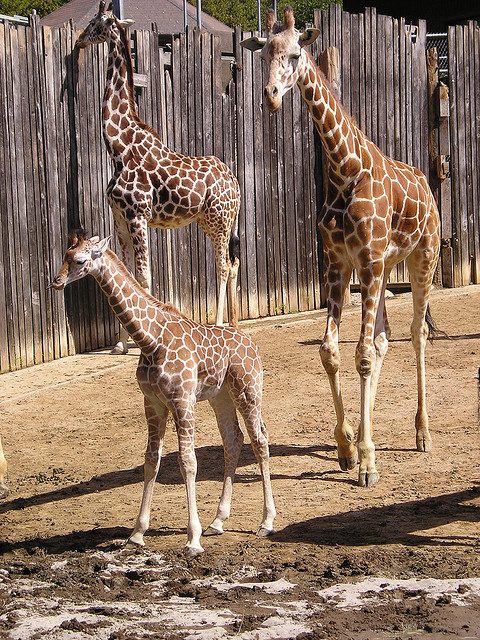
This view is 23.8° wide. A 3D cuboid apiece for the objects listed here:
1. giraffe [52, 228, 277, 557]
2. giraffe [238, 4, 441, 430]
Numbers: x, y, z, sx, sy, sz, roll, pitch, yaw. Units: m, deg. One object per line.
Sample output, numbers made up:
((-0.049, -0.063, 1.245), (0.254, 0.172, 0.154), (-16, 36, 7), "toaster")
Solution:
((-0.341, 0.338, 5.710), (1.042, 1.610, 0.536), (-3, 7, -12), "giraffe")
((0.953, -0.799, 8.635), (1.100, 2.835, 4.346), (0, 9, 11), "giraffe")
